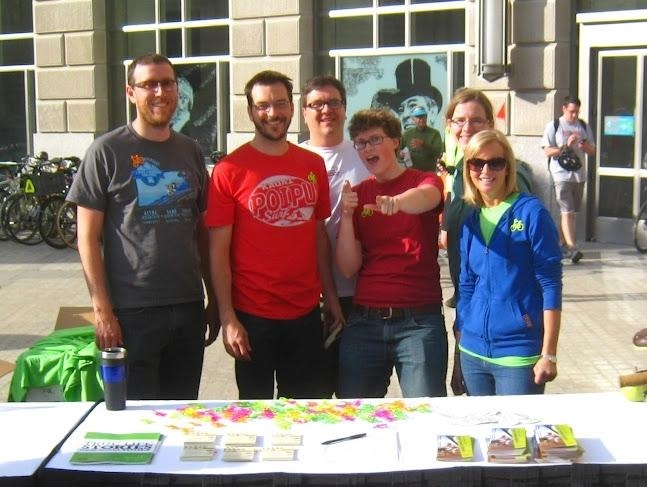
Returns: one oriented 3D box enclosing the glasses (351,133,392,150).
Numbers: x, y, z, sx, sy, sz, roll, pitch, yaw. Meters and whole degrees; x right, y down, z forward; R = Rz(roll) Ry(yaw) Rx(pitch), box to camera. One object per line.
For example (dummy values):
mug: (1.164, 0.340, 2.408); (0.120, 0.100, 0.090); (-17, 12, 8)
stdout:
glasses: (0.269, -0.565, 3.899); (0.204, 0.100, 0.085); (2, 10, 13)

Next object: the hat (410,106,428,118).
hat: (1.378, -1.875, 9.964); (0.229, 0.104, 0.324); (-7, 11, 5)

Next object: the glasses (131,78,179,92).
glasses: (-0.953, -0.887, 3.917); (0.259, 0.081, 0.147); (-4, 10, -16)

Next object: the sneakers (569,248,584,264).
sneakers: (3.238, 0.160, 8.912); (0.116, 0.124, 0.270); (-2, -11, -2)

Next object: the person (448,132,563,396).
person: (0.957, 0.114, 3.620); (0.553, 1.382, 0.376); (3, 10, 23)

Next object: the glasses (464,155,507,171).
glasses: (0.843, -0.410, 3.586); (0.187, 0.071, 0.066); (1, 10, 8)

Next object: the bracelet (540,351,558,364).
bracelet: (1.148, 0.577, 3.506); (0.052, 0.055, 0.030); (-3, 17, 6)

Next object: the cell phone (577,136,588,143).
cell phone: (3.442, -1.377, 9.239); (0.069, 0.093, 0.223); (8, 13, 42)

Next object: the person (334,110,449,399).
person: (0.380, 0.094, 3.883); (0.616, 1.665, 0.583); (0, 9, 1)

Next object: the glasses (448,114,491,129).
glasses: (0.851, -0.695, 3.996); (0.226, 0.058, 0.092); (2, 10, 12)

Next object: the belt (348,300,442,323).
belt: (0.404, 0.380, 3.895); (0.504, 0.097, 0.130); (1, 10, 8)

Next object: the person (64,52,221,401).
person: (-0.994, -0.059, 3.925); (0.820, 1.982, 0.505); (-4, 10, -21)
